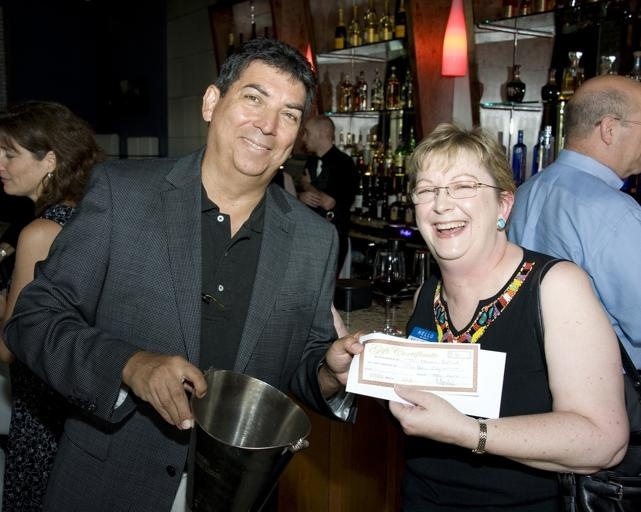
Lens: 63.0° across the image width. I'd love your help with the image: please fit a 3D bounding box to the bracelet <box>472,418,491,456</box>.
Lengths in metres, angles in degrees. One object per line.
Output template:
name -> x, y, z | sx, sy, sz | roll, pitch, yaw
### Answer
bracelet -> 0.376, 0.427, 1.224 | 0.029, 0.086, 0.043 | 6, 15, 19
